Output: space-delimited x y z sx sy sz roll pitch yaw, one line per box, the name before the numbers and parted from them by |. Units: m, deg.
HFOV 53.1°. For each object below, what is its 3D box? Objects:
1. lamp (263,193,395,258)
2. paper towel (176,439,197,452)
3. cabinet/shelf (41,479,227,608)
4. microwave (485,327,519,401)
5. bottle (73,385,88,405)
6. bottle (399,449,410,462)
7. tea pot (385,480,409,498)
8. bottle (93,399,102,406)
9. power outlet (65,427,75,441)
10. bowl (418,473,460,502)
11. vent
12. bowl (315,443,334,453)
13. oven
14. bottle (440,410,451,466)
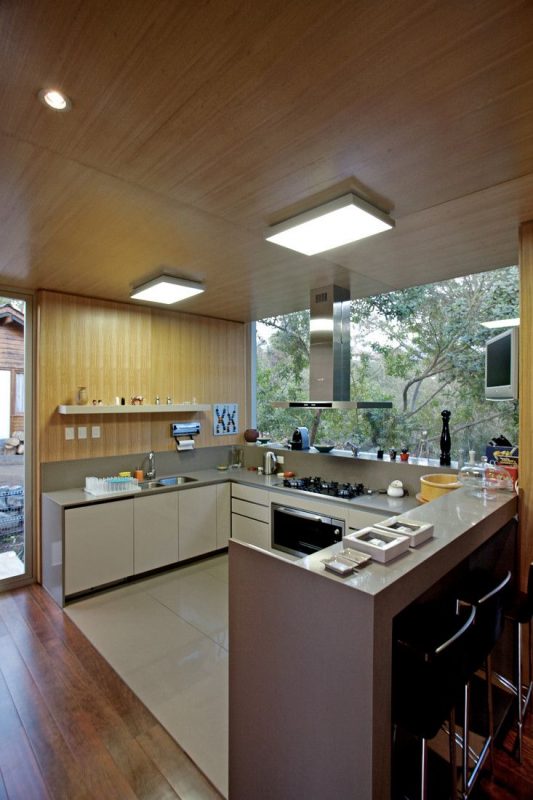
lamp | 0.270 -0.765 2.347 0.348 0.106 0.520 -3 4 -44
paper towel | -0.735 0.410 4.857 0.064 0.077 0.208 1 -4 23
cabinet/shelf | -0.932 0.997 4.034 1.388 0.727 0.370 -3 4 -44
microwave | 1.206 -0.183 2.744 0.124 0.383 0.545 0 3 20
bottle | -1.365 -0.043 4.003 0.117 0.180 0.118 0 -3 0
bottle | 0.994 0.398 3.864 0.080 0.106 0.083 -1 -2 0
tea pot | 0.904 0.618 3.684 0.106 0.112 0.108 0 -7 0
bottle | -1.296 0.018 4.085 0.060 0.059 0.048 2 9 37
power outlet | -1.467 0.252 3.967 0.075 0.106 0.010 16 -25 -42
bowl | 0.914 0.473 2.910 0.191 0.082 0.206 1 4 0
vent | 0.475 -0.377 3.776 0.361 0.863 0.627 -2 3 -31
bowl | 0.487 0.406 4.506 0.123 0.060 0.235 -1 3 -3
oven | 0.336 0.948 4.010 0.588 0.383 0.363 7 13 29
bottle | 1.200 0.252 3.584 0.061 0.365 0.190 0 3 19
